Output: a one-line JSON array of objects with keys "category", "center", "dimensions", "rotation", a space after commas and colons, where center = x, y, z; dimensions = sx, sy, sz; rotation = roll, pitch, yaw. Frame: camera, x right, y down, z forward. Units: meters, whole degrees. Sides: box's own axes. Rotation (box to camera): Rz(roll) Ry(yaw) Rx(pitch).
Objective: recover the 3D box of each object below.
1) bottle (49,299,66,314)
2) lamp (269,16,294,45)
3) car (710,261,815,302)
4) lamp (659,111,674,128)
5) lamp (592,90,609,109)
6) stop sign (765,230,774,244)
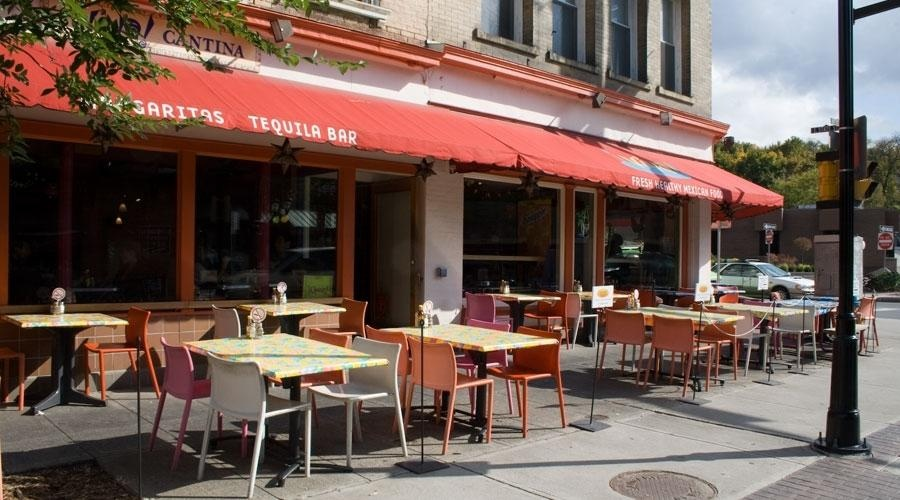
[{"category": "bottle", "center": [-7.000, 1.007, 13.827], "dimensions": [0.294, 0.267, 0.283], "rotation": [2, -5, -20]}, {"category": "lamp", "center": [-3.316, -4.360, 15.281], "dimensions": [0.520, 0.627, 0.399], "rotation": [-15, 18, -32]}, {"category": "car", "center": [11.157, 1.133, 27.877], "dimensions": [3.021, 1.013, 1.380], "rotation": [-3, -4, 32]}, {"category": "lamp", "center": [5.843, -3.582, 21.112], "dimensions": [0.563, 0.507, 0.302], "rotation": [0, 7, 3]}, {"category": "lamp", "center": [3.783, -3.787, 19.553], "dimensions": [0.394, 0.469, 0.366], "rotation": [9, 25, -11]}, {"category": "stop sign", "center": [15.002, -0.666, 36.453], "dimensions": [0.159, 1.151, 1.096], "rotation": [2, 1, 34]}]
